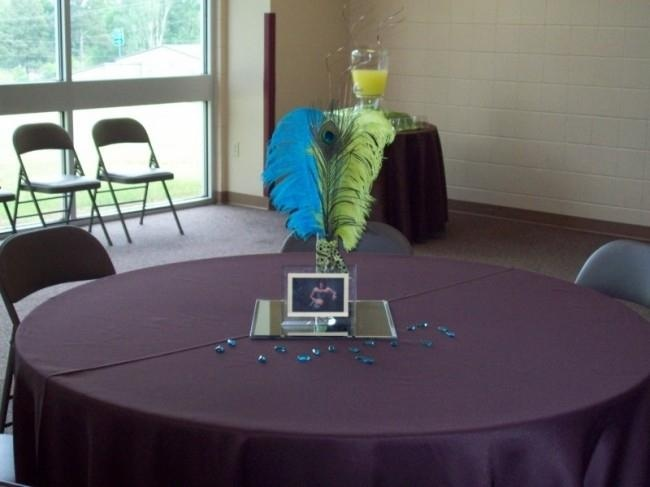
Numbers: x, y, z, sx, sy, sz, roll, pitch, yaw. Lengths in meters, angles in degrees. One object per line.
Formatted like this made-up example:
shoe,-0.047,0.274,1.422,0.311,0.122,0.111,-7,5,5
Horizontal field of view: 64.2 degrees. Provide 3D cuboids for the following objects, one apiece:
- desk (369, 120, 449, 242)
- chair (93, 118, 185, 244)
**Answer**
desk,0.856,-0.705,5.232,0.700,1.039,0.816,-5,20,3
chair,-1.873,-0.668,5.139,0.759,1.172,0.809,1,11,5
